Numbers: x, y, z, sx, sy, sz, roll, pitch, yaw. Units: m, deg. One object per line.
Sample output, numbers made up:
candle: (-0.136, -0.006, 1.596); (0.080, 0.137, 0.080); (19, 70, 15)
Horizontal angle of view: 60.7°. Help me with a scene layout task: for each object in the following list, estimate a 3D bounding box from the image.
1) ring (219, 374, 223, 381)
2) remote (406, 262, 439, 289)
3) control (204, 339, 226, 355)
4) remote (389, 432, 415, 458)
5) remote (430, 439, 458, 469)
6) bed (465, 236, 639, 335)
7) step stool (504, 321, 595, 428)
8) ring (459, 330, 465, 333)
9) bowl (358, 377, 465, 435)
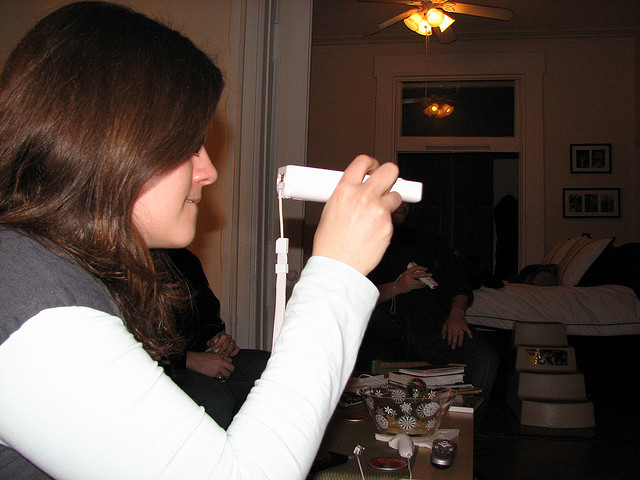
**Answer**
ring: (-0.324, 0.450, 1.788); (0.011, 0.013, 0.014); (0, -6, 1)
remote: (0.482, 0.172, 2.624); (0.025, 0.136, 0.086); (-25, -28, -17)
control: (-0.377, 0.377, 1.934); (0.054, 0.050, 0.017); (15, -1, 31)
remote: (0.185, 0.456, 1.224); (0.038, 0.019, 0.054); (-4, 10, -6)
remote: (0.273, 0.470, 1.214); (0.052, 0.028, 0.098); (5, 7, 17)
bed: (1.306, 0.325, 3.145); (0.727, 0.296, 0.705); (-1, -2, 7)
step stool: (1.134, 0.648, 2.725); (0.336, 0.420, 0.553); (0, 1, 13)
ring: (0.677, 0.437, 2.622); (0.024, 0.011, 0.005); (3, 6, -12)
bowl: (0.243, 0.414, 1.395); (0.215, 0.072, 0.195); (-1, -11, 0)
